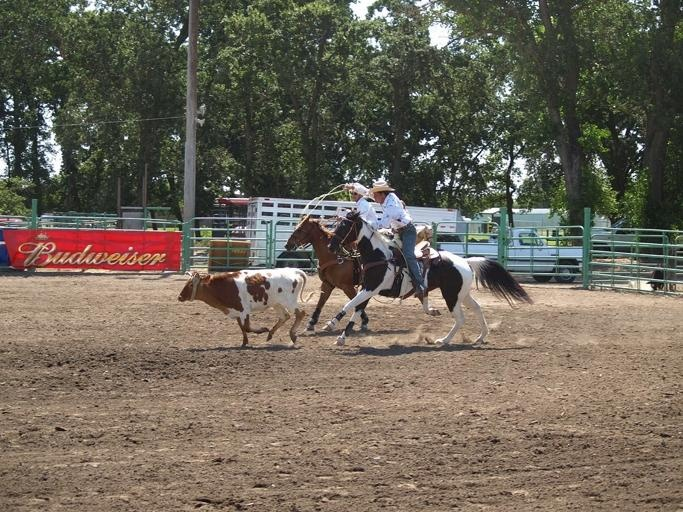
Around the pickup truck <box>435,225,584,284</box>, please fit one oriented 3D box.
[{"bbox_3d":[6.066,-0.051,35.182,4.293,1.467,2.173,1,2,-3],"label":"pickup truck"}]

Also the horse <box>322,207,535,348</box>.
[{"bbox_3d":[2.018,0.628,23.182,5.242,2.776,1.022,3,-2,-23],"label":"horse"}]

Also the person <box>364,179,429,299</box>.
[{"bbox_3d":[1.288,-0.359,22.835,1.217,2.593,1.166,1,15,-3],"label":"person"}]
